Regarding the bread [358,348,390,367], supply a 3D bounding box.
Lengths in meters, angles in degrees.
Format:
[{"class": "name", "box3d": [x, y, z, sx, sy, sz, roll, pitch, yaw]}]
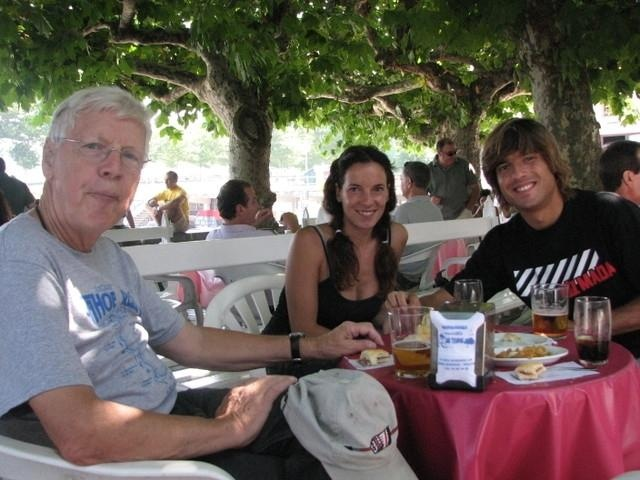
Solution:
[{"class": "bread", "box3d": [0.232, 0.490, 2.336, 0.075, 0.034, 0.074, -2, 4, -20]}]

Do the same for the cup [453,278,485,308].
[{"class": "cup", "box3d": [0.664, 0.238, 2.505, 0.143, 0.140, 0.147, -1, 0, 0]}]

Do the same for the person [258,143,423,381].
[{"class": "person", "box3d": [0.239, 0.222, 3.243, 0.983, 1.435, 1.100, 5, 10, -2]}]

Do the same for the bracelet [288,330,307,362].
[{"class": "bracelet", "box3d": [-0.110, 0.511, 2.631, 0.069, 0.120, 0.120, 3, -8, 15]}]

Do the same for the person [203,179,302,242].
[{"class": "person", "box3d": [-0.762, -0.316, 6.292, 0.620, 0.614, 1.116, 8, 16, 41]}]
